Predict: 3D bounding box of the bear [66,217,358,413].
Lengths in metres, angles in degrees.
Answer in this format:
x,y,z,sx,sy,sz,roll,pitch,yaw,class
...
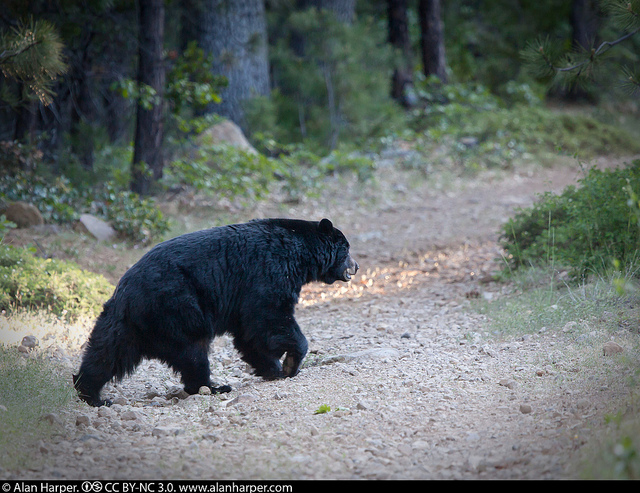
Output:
x,y,z,sx,sy,sz,roll,pitch,yaw,class
-1.281,0.724,12.022,3.875,2.698,1.494,-8,21,-29,bear
